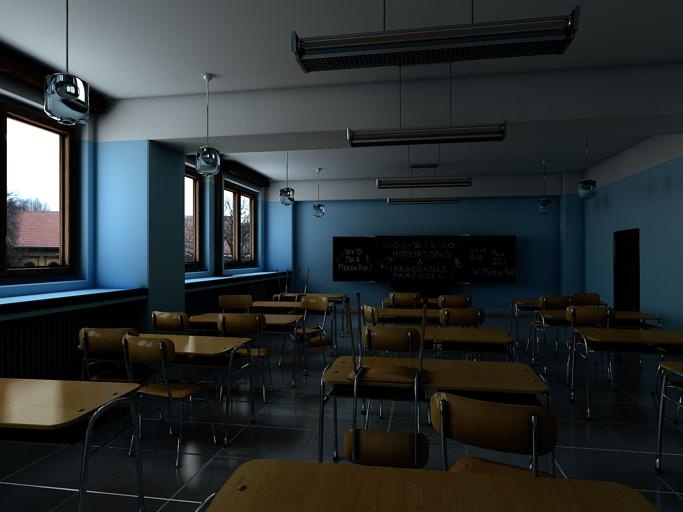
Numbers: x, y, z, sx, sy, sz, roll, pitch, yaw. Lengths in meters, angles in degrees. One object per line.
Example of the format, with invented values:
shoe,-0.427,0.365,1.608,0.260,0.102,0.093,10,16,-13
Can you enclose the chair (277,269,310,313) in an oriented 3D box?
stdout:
chair,-0.864,0.517,8.774,0.598,1.002,0.521,2,-3,4
